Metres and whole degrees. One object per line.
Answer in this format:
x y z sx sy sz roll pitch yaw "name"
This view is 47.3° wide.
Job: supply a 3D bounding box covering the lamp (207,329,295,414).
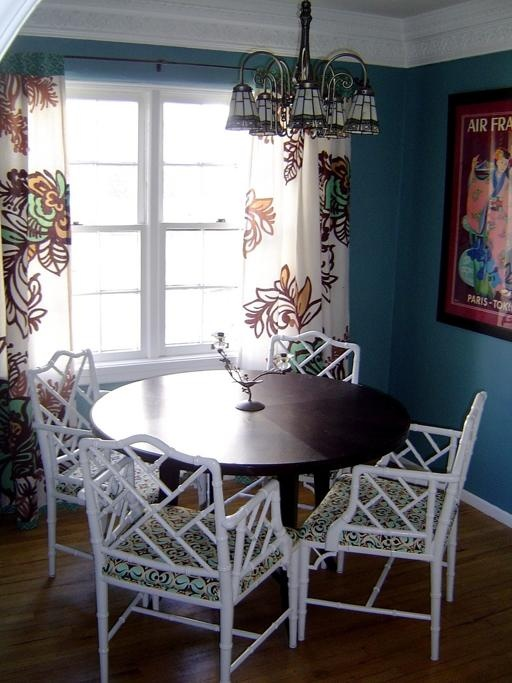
-0.027 0.113 2.254 0.314 0.292 0.196 5 13 30 "lamp"
